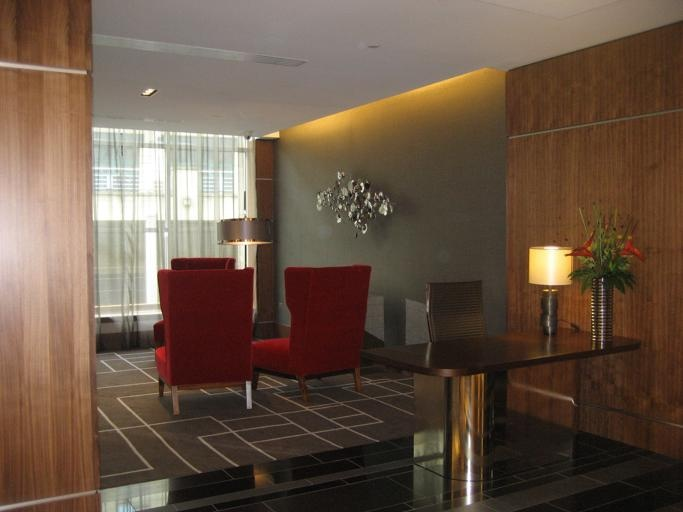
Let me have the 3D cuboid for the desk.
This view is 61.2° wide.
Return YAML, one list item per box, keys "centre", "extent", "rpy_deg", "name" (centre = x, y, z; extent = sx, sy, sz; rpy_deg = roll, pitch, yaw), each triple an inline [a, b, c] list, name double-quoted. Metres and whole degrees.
- centre: [1.023, 0.667, 3.903]
  extent: [1.824, 0.856, 0.938]
  rpy_deg: [-5, 10, -35]
  name: "desk"

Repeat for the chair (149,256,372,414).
- centre: [-0.877, 0.705, 5.791]
  extent: [1.910, 1.318, 1.264]
  rpy_deg: [2, -3, -33]
  name: "chair"

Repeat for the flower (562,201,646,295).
- centre: [2.109, -0.050, 4.561]
  extent: [0.526, 0.670, 0.513]
  rpy_deg: [1, 4, 26]
  name: "flower"

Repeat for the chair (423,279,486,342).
- centre: [0.956, 0.450, 4.784]
  extent: [0.439, 0.712, 0.519]
  rpy_deg: [-1, -1, -17]
  name: "chair"
